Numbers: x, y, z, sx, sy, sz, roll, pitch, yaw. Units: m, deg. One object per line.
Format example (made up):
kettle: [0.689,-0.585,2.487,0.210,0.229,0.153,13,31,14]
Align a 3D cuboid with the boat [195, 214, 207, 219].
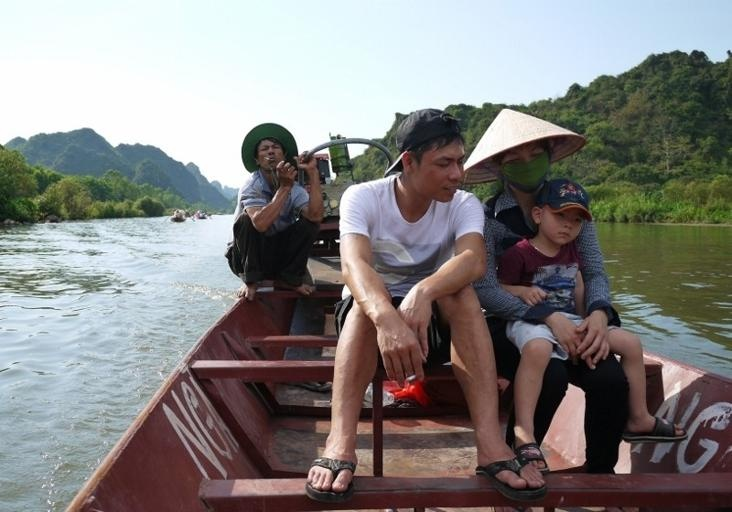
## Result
boat: [-26.897,-6.445,83.978,1.737,0.547,1.818,-7,17,-37]

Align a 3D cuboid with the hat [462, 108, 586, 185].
hat: [0.957,-0.741,3.350,0.606,0.269,0.622,-18,-11,21]

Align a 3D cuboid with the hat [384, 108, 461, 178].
hat: [0.265,-0.695,3.128,0.529,0.271,0.357,-27,-8,42]

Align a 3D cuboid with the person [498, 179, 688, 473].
person: [1.105,0.319,2.934,1.003,1.518,1.107,-9,11,-21]

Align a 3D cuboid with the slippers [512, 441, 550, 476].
slippers: [0.818,0.976,2.576,0.135,0.107,0.349,-1,4,12]

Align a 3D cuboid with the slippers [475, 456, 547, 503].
slippers: [0.674,1.028,2.415,0.200,0.127,0.287,-2,15,-22]

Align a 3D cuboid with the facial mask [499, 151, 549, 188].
facial mask: [1.044,-0.540,3.419,0.241,0.204,0.243,-17,12,4]

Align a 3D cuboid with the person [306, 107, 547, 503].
person: [0.199,0.176,2.939,1.136,1.980,1.343,1,-3,-12]

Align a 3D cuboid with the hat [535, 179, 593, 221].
hat: [1.229,-0.374,3.205,0.307,0.222,0.436,8,3,-11]

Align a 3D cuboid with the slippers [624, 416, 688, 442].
slippers: [1.594,0.962,2.858,0.290,0.110,0.139,-3,-6,7]

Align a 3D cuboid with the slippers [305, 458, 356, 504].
slippers: [-0.163,1.009,2.344,0.212,0.129,0.164,4,14,3]
